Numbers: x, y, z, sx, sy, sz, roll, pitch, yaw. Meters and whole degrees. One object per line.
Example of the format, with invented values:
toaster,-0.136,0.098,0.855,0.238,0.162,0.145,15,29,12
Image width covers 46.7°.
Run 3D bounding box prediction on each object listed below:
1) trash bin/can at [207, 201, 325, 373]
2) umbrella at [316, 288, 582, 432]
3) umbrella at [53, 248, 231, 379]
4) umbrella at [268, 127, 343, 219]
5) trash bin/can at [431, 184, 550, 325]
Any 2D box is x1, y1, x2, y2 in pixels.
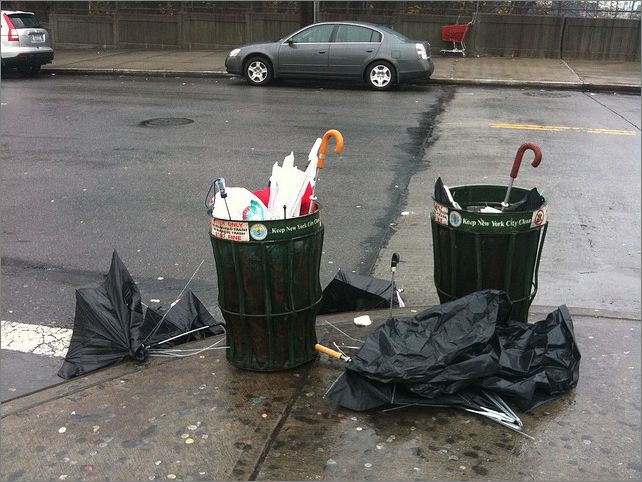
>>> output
trash bin/can,-0.384,0.342,6.257,1.114,1.631,1.124,-3,14,-5
umbrella,1.055,0.882,5.530,1.298,0.578,1.151,-8,24,-7
umbrella,-1.557,0.611,6.166,1.273,0.863,0.697,-7,24,-20
umbrella,-0.137,-0.514,5.980,0.514,0.185,0.876,2,54,15
trash bin/can,1.257,-0.038,6.417,1.030,1.590,1.103,0,15,3
